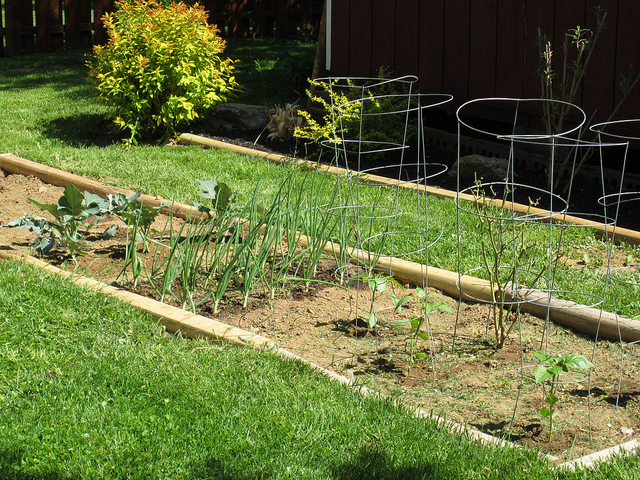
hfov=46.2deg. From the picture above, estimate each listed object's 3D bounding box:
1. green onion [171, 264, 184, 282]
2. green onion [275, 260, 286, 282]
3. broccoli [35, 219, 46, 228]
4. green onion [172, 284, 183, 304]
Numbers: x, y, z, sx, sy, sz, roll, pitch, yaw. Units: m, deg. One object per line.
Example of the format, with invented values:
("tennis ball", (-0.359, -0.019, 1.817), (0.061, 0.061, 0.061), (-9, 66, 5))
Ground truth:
("green onion", (-0.956, 0.226, 5.042), (0.043, 0.162, 0.029), (35, 54, -3))
("green onion", (-0.267, 0.226, 5.134), (0.019, 0.197, 0.019), (30, 8, -20))
("broccoli", (-2.027, -0.119, 5.440), (0.054, 0.018, 0.056), (-15, 29, -34))
("green onion", (-0.981, 0.379, 5.173), (0.026, 0.018, 0.213), (1, 32, -16))
